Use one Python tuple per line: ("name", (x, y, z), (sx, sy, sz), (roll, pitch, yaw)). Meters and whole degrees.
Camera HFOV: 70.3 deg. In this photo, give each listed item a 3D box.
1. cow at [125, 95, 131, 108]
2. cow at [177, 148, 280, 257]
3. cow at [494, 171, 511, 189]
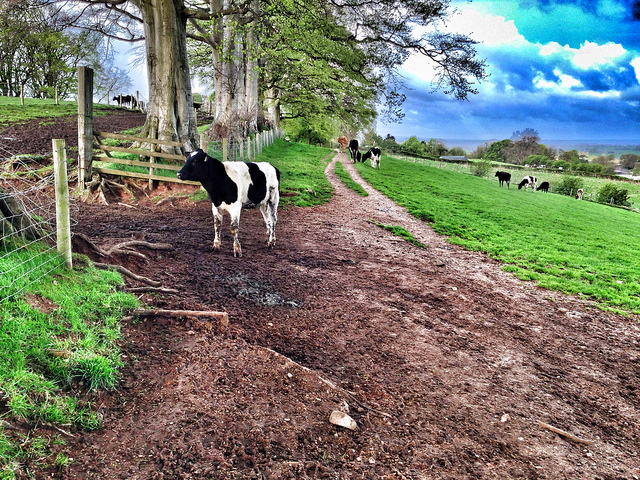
("cow", (-22.730, -16.577, 53.909), (0.652, 1.293, 4.346), (-2, 15, -23))
("cow", (-2.132, -1.037, 11.777), (2.612, 2.526, 1.130), (-9, 20, -41))
("cow", (17.115, -5.725, 42.692), (1.348, 1.381, 3.403), (10, 15, 20))
